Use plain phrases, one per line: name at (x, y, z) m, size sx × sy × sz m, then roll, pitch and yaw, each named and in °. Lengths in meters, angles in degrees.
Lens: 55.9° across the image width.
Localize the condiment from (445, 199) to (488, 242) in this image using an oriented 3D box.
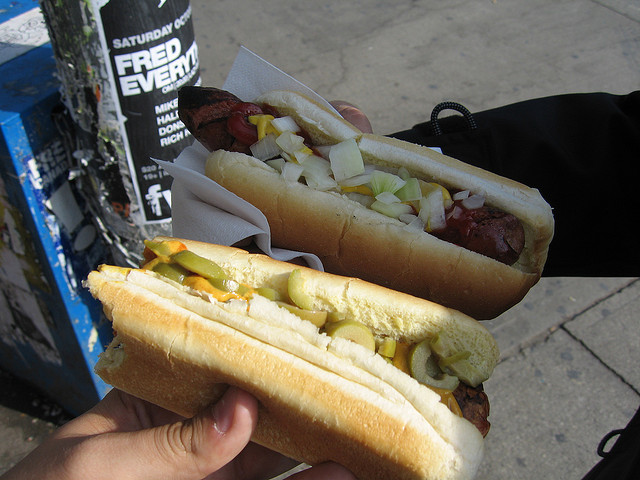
condiment at (0.915, -0.140, 3.895) m, size 0.222 × 0.224 × 0.304 m, roll 3°, pitch 15°, yaw 3°

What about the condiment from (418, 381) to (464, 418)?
condiment at (0.689, 0.876, 3.452) m, size 0.237 × 0.178 × 0.252 m, roll 3°, pitch 13°, yaw 8°
